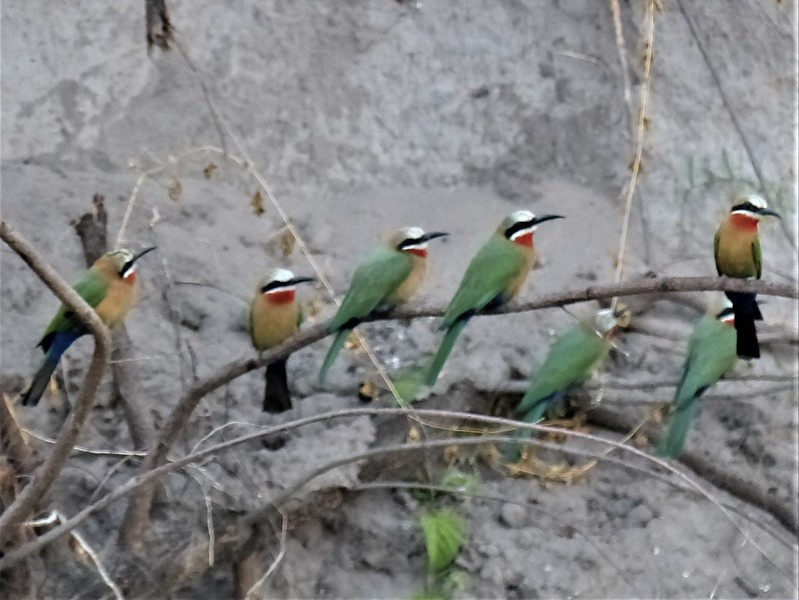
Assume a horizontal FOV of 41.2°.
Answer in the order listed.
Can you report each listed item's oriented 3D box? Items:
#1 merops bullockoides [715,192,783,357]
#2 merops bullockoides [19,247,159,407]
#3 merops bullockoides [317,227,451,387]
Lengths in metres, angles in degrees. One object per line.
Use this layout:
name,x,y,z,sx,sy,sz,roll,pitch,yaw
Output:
merops bullockoides,0.951,-0.098,3.022,0.136,0.525,0.210,0,11,-4
merops bullockoides,-0.860,0.046,2.942,0.542,0.162,0.244,-25,75,13
merops bullockoides,-0.089,-0.016,2.927,0.513,0.235,0.160,-30,23,-17
